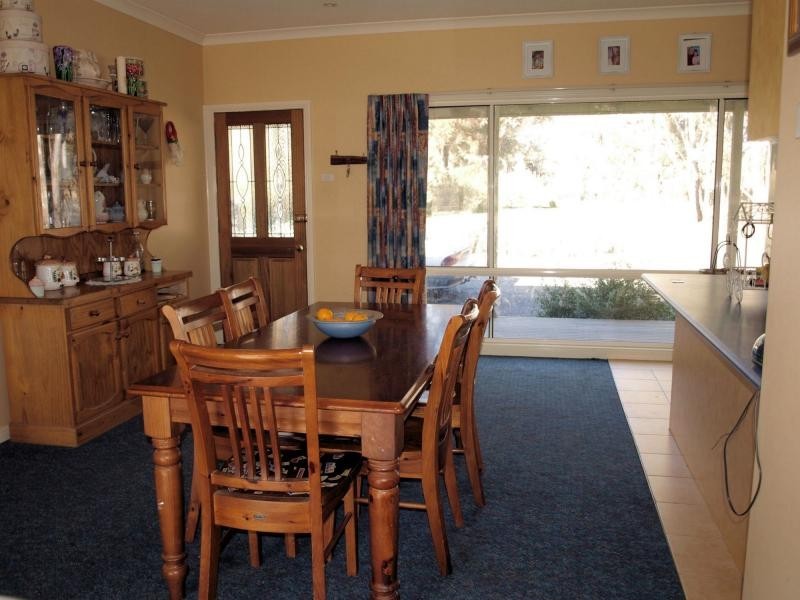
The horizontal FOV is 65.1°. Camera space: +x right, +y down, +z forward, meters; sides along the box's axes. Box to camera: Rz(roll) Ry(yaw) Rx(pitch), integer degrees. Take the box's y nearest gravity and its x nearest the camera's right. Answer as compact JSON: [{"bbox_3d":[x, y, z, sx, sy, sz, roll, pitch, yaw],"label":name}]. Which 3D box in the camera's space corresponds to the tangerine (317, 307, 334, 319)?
[{"bbox_3d":[-0.412,0.075,3.398,0.070,0.074,0.072,-3,-14,32],"label":"tangerine"}]

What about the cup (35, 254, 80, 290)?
[{"bbox_3d":[-2.339,-0.177,4.305,0.234,0.211,0.192,2,3,11],"label":"cup"}]

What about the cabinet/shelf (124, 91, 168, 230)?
[{"bbox_3d":[-1.994,-1.080,5.003,0.156,0.998,0.593,-1,13,-1],"label":"cabinet/shelf"}]
